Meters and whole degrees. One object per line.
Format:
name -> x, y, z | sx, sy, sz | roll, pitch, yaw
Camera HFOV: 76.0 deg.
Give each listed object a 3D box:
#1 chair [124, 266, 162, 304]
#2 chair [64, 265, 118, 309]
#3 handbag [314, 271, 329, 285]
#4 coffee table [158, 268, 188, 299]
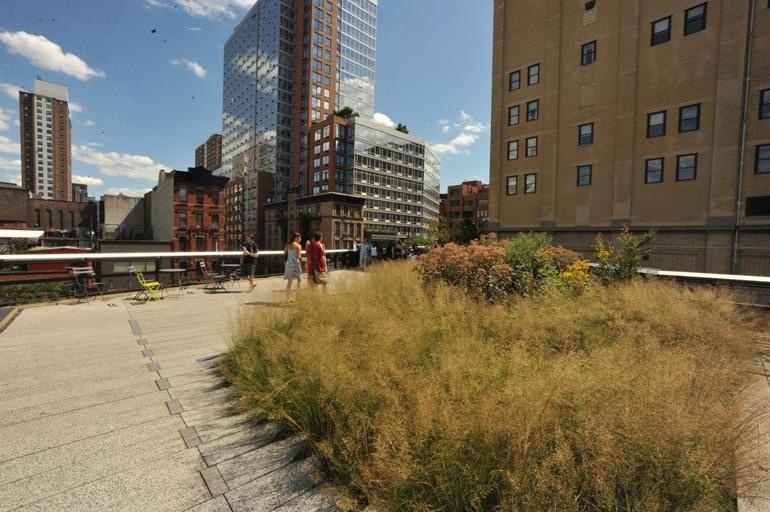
chair -> -9.595, 1.231, 19.675 | 1.311, 1.815, 1.206 | 2, 9, -9
chair -> -11.578, 1.203, 19.809 | 1.345, 2.013, 1.357 | 3, 5, 17
handbag -> -2.485, 0.961, 19.252 | 0.557, 0.815, 0.424 | 1, 4, 13
coffee table -> -8.998, 1.158, 21.044 | 1.182, 1.300, 1.223 | 0, 5, -24
